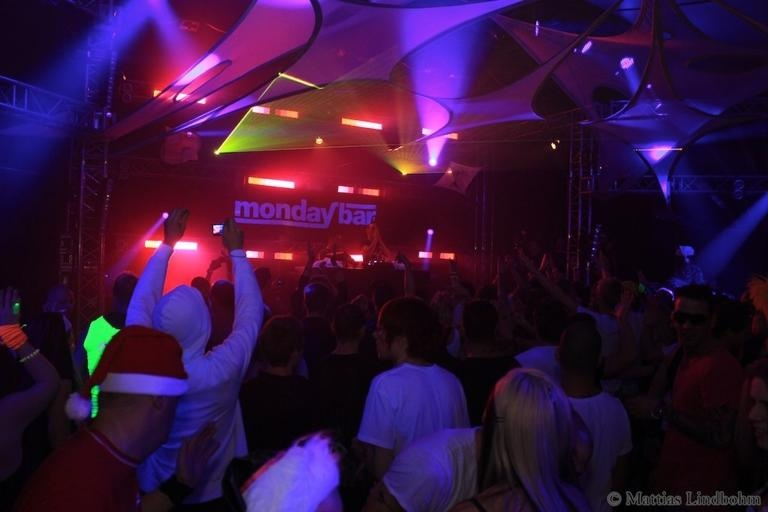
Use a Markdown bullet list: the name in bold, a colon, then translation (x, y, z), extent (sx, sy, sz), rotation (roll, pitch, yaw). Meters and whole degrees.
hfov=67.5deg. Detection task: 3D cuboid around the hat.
- **hat**: translation (-1.765, 0.733, 4.120), extent (0.727, 0.449, 0.490), rotation (-1, 1, -3)
